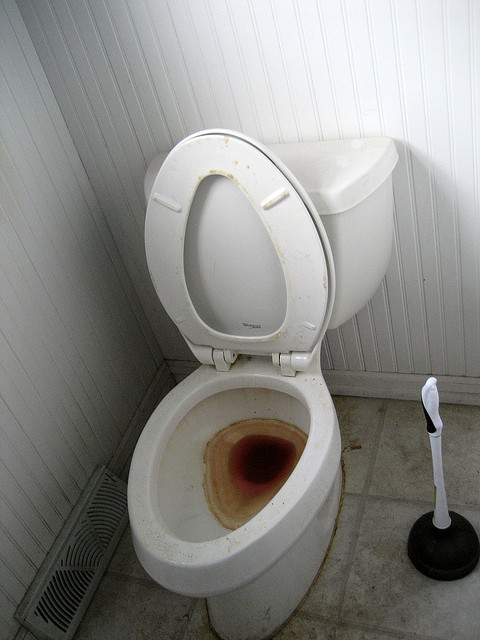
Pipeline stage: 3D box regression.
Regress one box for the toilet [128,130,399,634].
[{"bbox_3d":[0.052,0.128,0.819,0.307,0.762,0.742,8,55,15],"label":"toilet"}]
